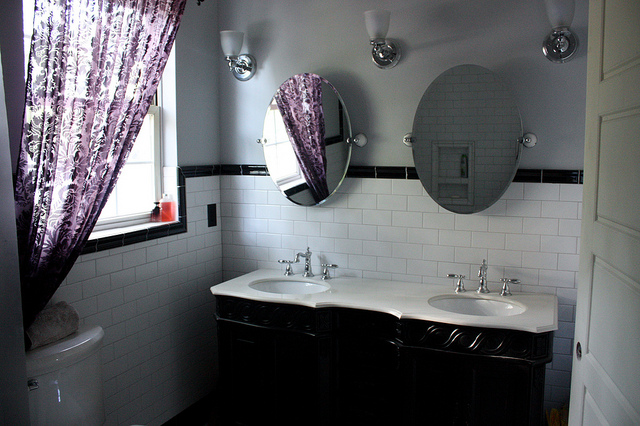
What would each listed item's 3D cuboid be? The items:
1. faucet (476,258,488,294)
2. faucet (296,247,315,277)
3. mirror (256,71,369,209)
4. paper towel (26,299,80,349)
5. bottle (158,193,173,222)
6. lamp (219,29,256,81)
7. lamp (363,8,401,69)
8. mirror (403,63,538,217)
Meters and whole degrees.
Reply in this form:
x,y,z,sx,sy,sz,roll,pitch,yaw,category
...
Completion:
x,y,z,sx,sy,sz,roll,pitch,yaw,category
1.122,0.424,3.183,0.074,0.211,0.153,5,11,19,faucet
-0.124,0.367,3.572,0.147,0.205,0.202,0,11,-4,faucet
-0.027,-0.580,3.489,1.071,1.146,0.118,1,2,22,mirror
-1.484,0.617,2.579,0.139,0.087,0.221,-11,20,18,paper towel
-1.159,-0.044,3.485,0.105,0.199,0.074,-2,11,-14,bottle
-0.638,-1.247,3.598,0.250,0.397,0.255,2,10,6,lamp
0.439,-1.213,3.238,0.248,0.358,0.237,3,10,9,lamp
1.059,-0.527,3.156,1.090,1.205,0.209,0,3,15,mirror
